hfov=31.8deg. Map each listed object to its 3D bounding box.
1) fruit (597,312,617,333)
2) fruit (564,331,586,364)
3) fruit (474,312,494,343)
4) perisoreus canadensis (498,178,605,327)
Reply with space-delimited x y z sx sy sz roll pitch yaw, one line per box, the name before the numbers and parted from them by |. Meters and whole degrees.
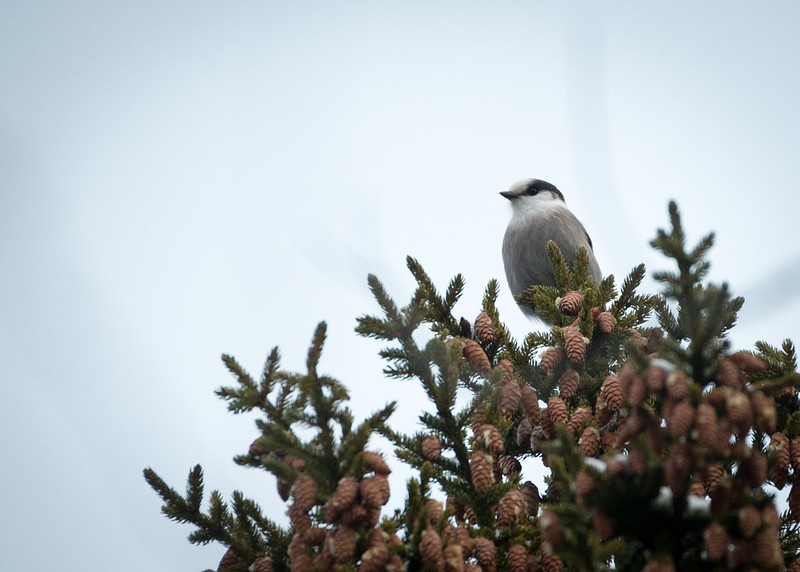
fruit | 1.005 0.193 6.850 0.058 0.121 0.063 15 -39 -11
fruit | 0.819 0.281 6.596 0.077 0.164 0.081 -10 -46 4
fruit | 0.400 0.201 6.705 0.086 0.161 0.069 -11 -40 -3
perisoreus canadensis | 1.164 -0.079 10.921 0.762 0.990 1.484 1 -83 -3
